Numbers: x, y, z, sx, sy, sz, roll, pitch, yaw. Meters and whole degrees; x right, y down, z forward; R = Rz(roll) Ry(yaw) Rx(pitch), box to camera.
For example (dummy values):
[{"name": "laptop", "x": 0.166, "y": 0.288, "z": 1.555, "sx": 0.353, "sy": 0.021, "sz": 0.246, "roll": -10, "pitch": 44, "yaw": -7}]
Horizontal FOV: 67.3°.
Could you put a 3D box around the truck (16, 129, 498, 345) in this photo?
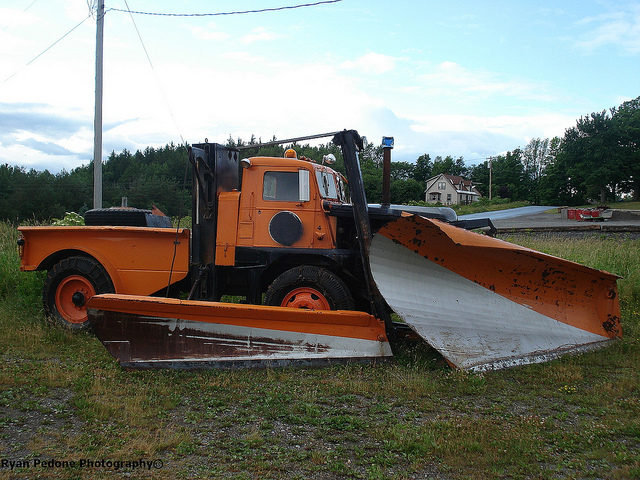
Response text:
[{"name": "truck", "x": -1.266, "y": -0.082, "z": 7.850, "sx": 6.442, "sy": 2.802, "sz": 2.725, "roll": 0, "pitch": 3, "yaw": 9}]
